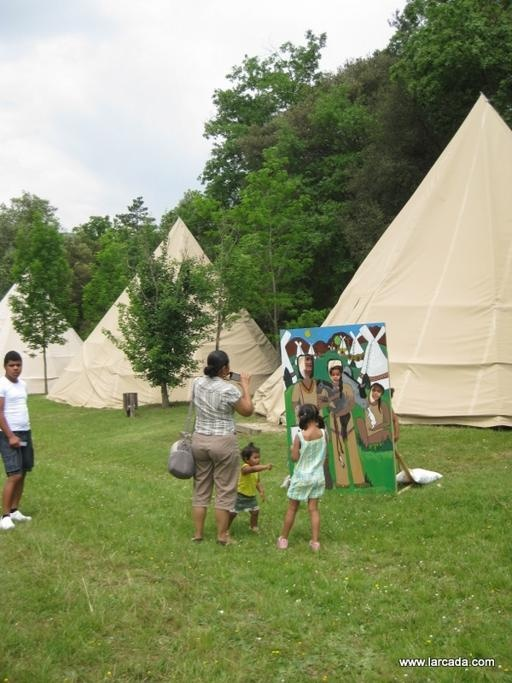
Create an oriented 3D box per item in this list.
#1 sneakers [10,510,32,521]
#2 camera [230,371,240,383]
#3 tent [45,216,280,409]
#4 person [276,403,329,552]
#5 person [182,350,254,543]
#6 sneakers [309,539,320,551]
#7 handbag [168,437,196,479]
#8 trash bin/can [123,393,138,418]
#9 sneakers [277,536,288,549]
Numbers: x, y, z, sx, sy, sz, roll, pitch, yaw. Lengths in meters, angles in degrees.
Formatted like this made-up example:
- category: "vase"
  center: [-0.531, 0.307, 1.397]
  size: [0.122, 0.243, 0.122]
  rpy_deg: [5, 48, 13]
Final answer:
- category: "sneakers"
  center: [-2.432, 1.801, 7.020]
  size: [0.237, 0.088, 0.076]
  rpy_deg: [5, 0, -11]
- category: "camera"
  center: [-0.214, 0.331, 6.672]
  size: [0.107, 0.076, 0.140]
  rpy_deg: [3, -10, -1]
- category: "tent"
  center: [-2.901, -0.670, 24.964]
  size: [8.041, 4.769, 7.532]
  rpy_deg: [-3, 4, -24]
- category: "person"
  center: [0.447, 1.345, 6.824]
  size: [0.484, 1.402, 0.578]
  rpy_deg: [0, 3, 4]
- category: "person"
  center: [-0.379, 1.160, 6.805]
  size: [0.661, 1.699, 0.417]
  rpy_deg: [0, 3, 10]
- category: "sneakers"
  center: [0.565, 1.992, 6.616]
  size: [0.051, 0.054, 0.139]
  rpy_deg: [3, 5, -17]
- category: "handbag"
  center: [-0.765, 1.165, 6.895]
  size: [0.278, 0.433, 0.322]
  rpy_deg: [16, -26, -6]
- category: "trash bin/can"
  center: [-3.761, 1.852, 20.062]
  size: [0.359, 0.656, 0.766]
  rpy_deg: [-1, 3, -14]
- category: "sneakers"
  center: [0.254, 1.981, 6.707]
  size: [0.067, 0.072, 0.135]
  rpy_deg: [2, -2, 2]
